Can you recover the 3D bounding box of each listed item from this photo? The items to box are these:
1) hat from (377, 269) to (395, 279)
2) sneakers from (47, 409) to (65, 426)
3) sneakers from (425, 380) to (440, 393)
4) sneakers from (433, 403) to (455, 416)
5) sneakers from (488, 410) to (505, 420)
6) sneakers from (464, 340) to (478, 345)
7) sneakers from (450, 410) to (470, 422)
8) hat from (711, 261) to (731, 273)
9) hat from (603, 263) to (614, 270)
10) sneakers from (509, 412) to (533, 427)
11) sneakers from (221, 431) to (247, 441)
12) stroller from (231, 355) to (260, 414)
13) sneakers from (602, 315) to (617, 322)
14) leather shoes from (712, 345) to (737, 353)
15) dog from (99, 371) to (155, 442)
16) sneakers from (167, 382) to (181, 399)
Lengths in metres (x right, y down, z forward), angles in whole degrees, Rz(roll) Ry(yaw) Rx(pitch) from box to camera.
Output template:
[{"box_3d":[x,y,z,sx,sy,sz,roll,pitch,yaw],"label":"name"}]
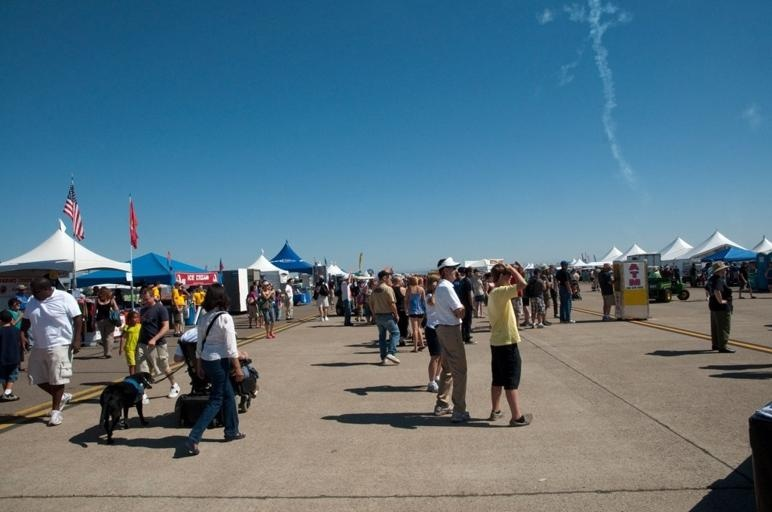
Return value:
[{"box_3d":[-0.079,0.472,13.887,0.292,0.236,0.393,-5,1,-43],"label":"hat"},{"box_3d":[-5.720,2.802,9.319,0.213,0.234,0.294,-6,7,-32],"label":"sneakers"},{"box_3d":[0.904,2.574,10.523,0.121,0.161,0.369,0,-1,24],"label":"sneakers"},{"box_3d":[0.997,2.638,9.221,0.380,0.172,0.138,-1,0,-33],"label":"sneakers"},{"box_3d":[1.835,2.630,8.916,0.104,0.121,0.286,1,3,42],"label":"sneakers"},{"box_3d":[2.492,2.553,15.817,0.362,0.145,0.123,-2,2,-1],"label":"sneakers"},{"box_3d":[1.235,2.649,8.890,0.131,0.163,0.330,0,5,39],"label":"sneakers"},{"box_3d":[7.913,0.261,12.773,0.276,0.280,0.492,2,7,31],"label":"hat"},{"box_3d":[8.370,0.413,20.319,0.210,0.164,0.283,-8,-8,-18],"label":"hat"},{"box_3d":[2.186,2.620,8.605,0.466,0.150,0.189,-6,7,-33],"label":"sneakers"},{"box_3d":[-2.379,2.823,8.404,0.268,0.103,0.141,2,-6,-28],"label":"sneakers"},{"box_3d":[-2.535,2.289,9.689,0.389,0.920,0.696,2,3,-38],"label":"stroller"},{"box_3d":[8.231,2.313,19.838,0.519,0.227,0.192,-3,0,-24],"label":"sneakers"},{"box_3d":[7.880,2.194,12.620,0.504,0.206,0.174,0,-4,6],"label":"leather shoes"},{"box_3d":[-4.312,2.502,8.966,0.359,0.854,1.385,-5,-4,5],"label":"dog"},{"box_3d":[-4.255,2.721,10.921,0.191,0.251,0.579,-3,-5,-7],"label":"sneakers"}]
